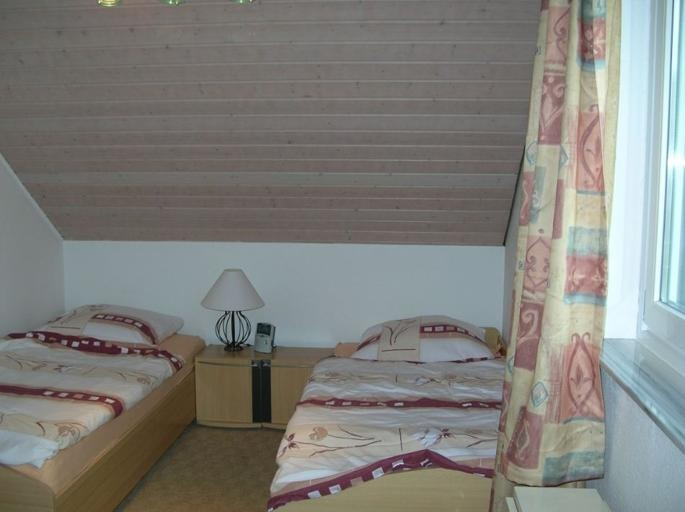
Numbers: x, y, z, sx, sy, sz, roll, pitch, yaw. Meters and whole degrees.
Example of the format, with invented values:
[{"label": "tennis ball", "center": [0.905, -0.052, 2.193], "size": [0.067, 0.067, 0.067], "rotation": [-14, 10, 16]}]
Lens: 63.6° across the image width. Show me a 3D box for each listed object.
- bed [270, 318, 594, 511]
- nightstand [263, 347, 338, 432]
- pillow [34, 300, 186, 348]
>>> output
[{"label": "bed", "center": [0.285, 0.764, 2.954], "size": [1.073, 0.386, 1.641], "rotation": [3, 11, 16]}, {"label": "nightstand", "center": [-0.323, 0.828, 3.830], "size": [0.708, 0.598, 0.453], "rotation": [0, 3, 3]}, {"label": "pillow", "center": [-1.607, 0.458, 3.768], "size": [0.623, 0.134, 0.374], "rotation": [6, 11, 9]}]
